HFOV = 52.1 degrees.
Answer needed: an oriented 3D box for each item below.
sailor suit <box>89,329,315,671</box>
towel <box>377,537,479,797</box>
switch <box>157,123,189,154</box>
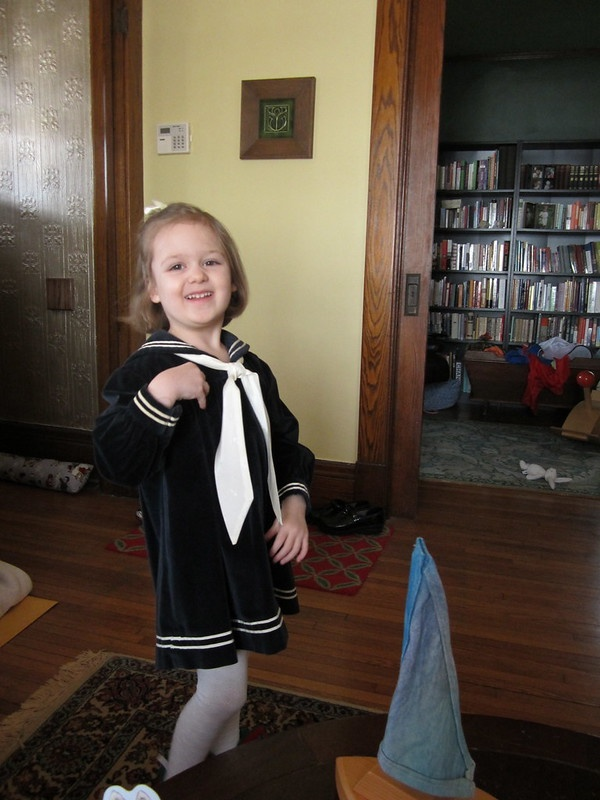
[{"bbox_3d":[-0.118,0.164,0.994,0.258,0.537,0.453,8,11,30],"label":"sailor suit"},{"bbox_3d":[0.106,0.218,0.484,0.075,0.200,0.039,5,10,18],"label":"towel"},{"bbox_3d":[-0.557,-1.153,2.700,0.154,0.124,0.135,3,14,12],"label":"switch"}]
